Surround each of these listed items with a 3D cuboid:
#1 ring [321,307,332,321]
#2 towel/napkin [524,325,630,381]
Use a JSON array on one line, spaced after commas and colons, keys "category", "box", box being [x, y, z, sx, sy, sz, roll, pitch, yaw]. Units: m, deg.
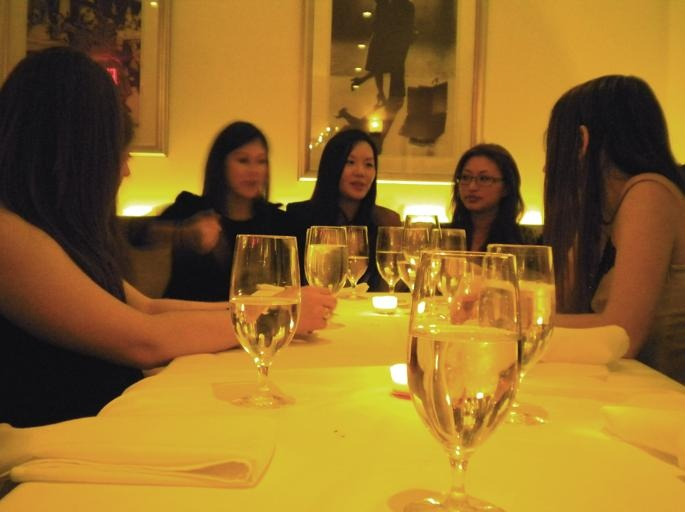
[{"category": "ring", "box": [-0.032, 0.126, 1.362, 0.019, 0.035, 0.033, 1, 4, 3]}, {"category": "towel/napkin", "box": [0.411, 0.163, 1.058, 0.129, 0.051, 0.132, -10, 4, -10]}]
